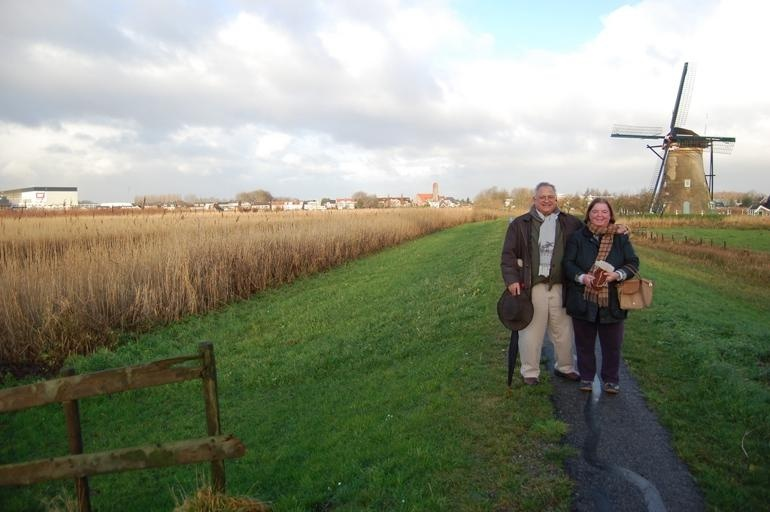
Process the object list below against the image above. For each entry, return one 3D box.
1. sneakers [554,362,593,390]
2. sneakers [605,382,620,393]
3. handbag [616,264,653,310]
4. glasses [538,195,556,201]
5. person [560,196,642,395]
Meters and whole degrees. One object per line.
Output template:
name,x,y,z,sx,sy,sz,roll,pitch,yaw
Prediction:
sneakers,3.301,2.097,8.207,0.213,0.262,0.607,-17,20,-42
sneakers,3.791,2.206,7.847,0.115,0.119,0.273,-2,-17,14
handbag,4.033,0.609,7.606,0.500,0.533,0.244,4,8,23
glasses,2.789,-1.004,8.081,0.286,0.093,0.109,2,8,7
person,3.563,0.661,7.876,1.127,3.236,0.671,4,7,21
